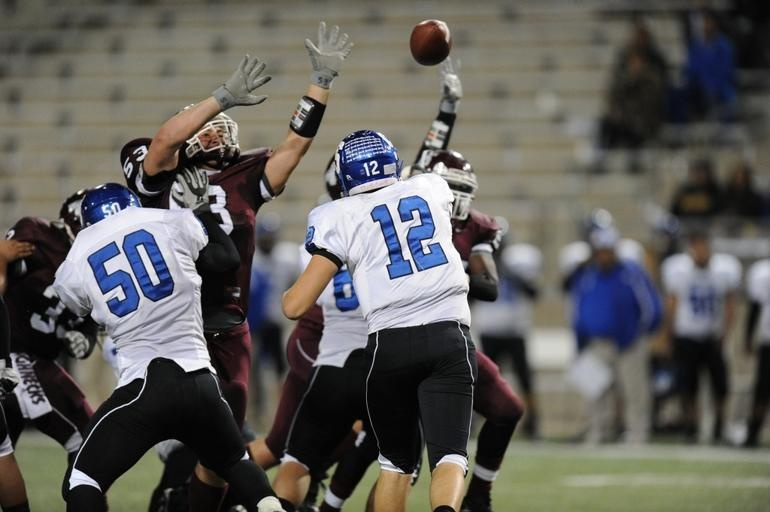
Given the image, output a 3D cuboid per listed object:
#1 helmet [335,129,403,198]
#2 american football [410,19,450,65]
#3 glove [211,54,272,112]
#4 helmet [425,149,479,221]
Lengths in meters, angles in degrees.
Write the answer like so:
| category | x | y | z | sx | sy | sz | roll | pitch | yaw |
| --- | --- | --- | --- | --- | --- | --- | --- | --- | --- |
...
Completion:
| category | x | y | z | sx | sy | sz | roll | pitch | yaw |
| --- | --- | --- | --- | --- | --- | --- | --- | --- | --- |
| helmet | -0.152 | -0.813 | 10.630 | 0.421 | 0.505 | 0.584 | -15 | -16 | -18 |
| american football | 0.347 | -1.961 | 11.433 | 0.369 | 0.446 | 0.341 | -3 | 1 | 31 |
| glove | -1.257 | -1.513 | 10.896 | 0.468 | 0.581 | 0.504 | 3 | -6 | -9 |
| helmet | 0.634 | -0.654 | 11.263 | 0.404 | 0.523 | 0.595 | 21 | 2 | -14 |
